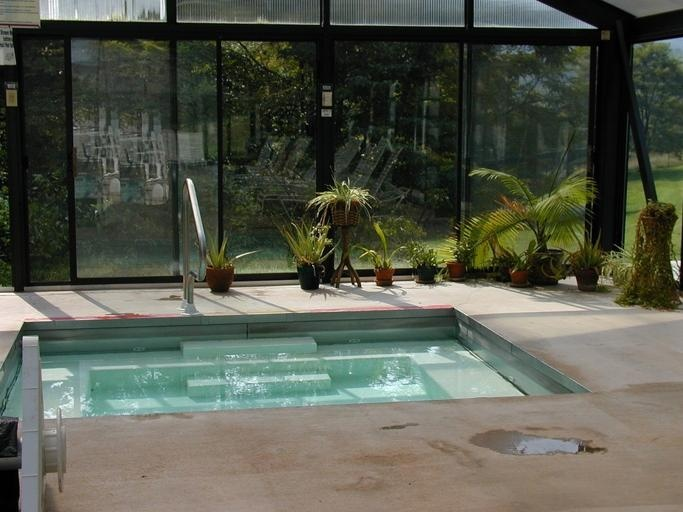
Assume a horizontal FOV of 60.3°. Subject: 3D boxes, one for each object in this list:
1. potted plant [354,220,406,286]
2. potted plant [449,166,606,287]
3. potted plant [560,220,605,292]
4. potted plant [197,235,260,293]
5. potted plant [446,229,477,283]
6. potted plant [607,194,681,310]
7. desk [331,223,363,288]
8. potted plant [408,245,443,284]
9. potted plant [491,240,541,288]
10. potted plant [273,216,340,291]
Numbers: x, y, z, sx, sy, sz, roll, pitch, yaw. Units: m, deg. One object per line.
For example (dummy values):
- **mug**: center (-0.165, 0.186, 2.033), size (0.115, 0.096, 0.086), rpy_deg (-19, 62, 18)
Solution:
- **potted plant**: center (0.461, -0.059, 7.135), size (0.675, 0.716, 0.684), rpy_deg (-1, 4, -20)
- **potted plant**: center (2.235, -0.352, 7.249), size (1.431, 1.207, 1.462), rpy_deg (1, 6, 6)
- **potted plant**: center (2.773, 0.067, 6.600), size (0.618, 0.640, 0.455), rpy_deg (3, -1, -27)
- **potted plant**: center (-1.230, 0.104, 6.544), size (0.634, 0.572, 0.336), rpy_deg (-3, 3, -23)
- **potted plant**: center (1.413, 0.069, 7.112), size (0.251, 0.399, 0.254), rpy_deg (6, -3, 33)
- **potted plant**: center (2.957, -0.014, 5.644), size (0.551, 0.995, 0.341), rpy_deg (5, 10, 27)
- **desk**: center (0.048, -0.011, 6.715), size (0.380, 0.768, 0.413), rpy_deg (-4, 9, -26)
- **potted plant**: center (1.008, 0.058, 7.062), size (0.361, 0.445, 0.524), rpy_deg (3, 10, 19)
- **potted plant**: center (2.052, 0.036, 6.896), size (0.508, 0.555, 0.496), rpy_deg (-4, 5, 28)
- **potted plant**: center (-0.298, -0.003, 6.662), size (0.540, 0.767, 0.594), rpy_deg (8, -15, -28)
